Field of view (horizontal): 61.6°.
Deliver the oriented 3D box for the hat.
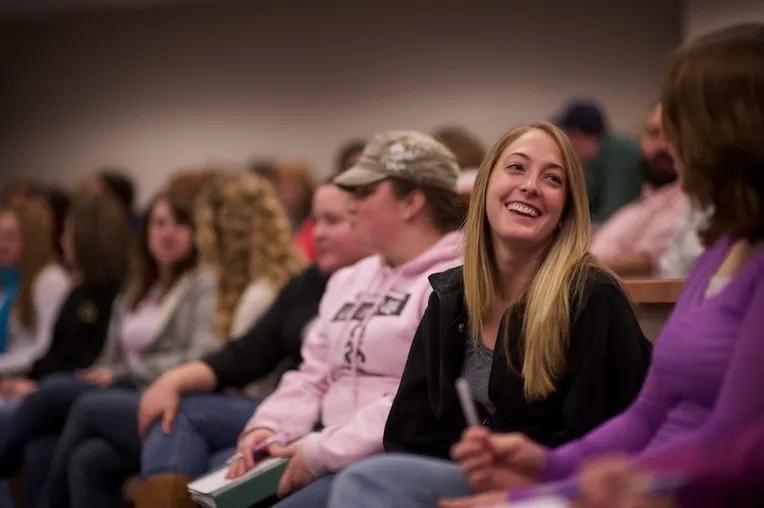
[{"bbox_3d":[0.066,-0.234,1.833,0.266,0.134,0.185,7,0,-1],"label":"hat"}]
